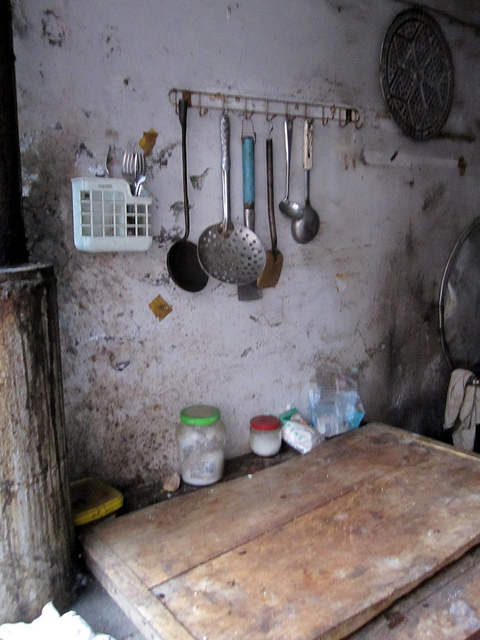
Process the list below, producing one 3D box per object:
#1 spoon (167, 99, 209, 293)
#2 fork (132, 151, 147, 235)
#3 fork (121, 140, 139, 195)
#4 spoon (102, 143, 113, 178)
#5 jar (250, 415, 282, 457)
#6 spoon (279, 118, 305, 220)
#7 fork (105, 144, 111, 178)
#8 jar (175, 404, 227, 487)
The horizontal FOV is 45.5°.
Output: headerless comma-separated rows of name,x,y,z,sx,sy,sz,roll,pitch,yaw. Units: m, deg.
spoon,-0.131,-0.300,1.413,0.034,0.458,0.129,6,10,42
fork,-0.233,-0.289,1.288,0.018,0.217,0.020,2,4,3
fork,-0.248,-0.352,1.290,0.039,0.115,0.070,-2,9,-12
spoon,-0.300,-0.357,1.281,0.007,0.066,0.014,7,10,37
jar,0.072,0.320,1.573,0.073,0.111,0.093,0,8,-7
spoon,0.147,-0.428,1.618,0.097,0.279,0.017,-8,10,-43
fork,-0.297,-0.359,1.283,0.008,0.082,0.012,2,1,40
jar,-0.092,0.296,1.459,0.112,0.247,0.150,0,11,-3
